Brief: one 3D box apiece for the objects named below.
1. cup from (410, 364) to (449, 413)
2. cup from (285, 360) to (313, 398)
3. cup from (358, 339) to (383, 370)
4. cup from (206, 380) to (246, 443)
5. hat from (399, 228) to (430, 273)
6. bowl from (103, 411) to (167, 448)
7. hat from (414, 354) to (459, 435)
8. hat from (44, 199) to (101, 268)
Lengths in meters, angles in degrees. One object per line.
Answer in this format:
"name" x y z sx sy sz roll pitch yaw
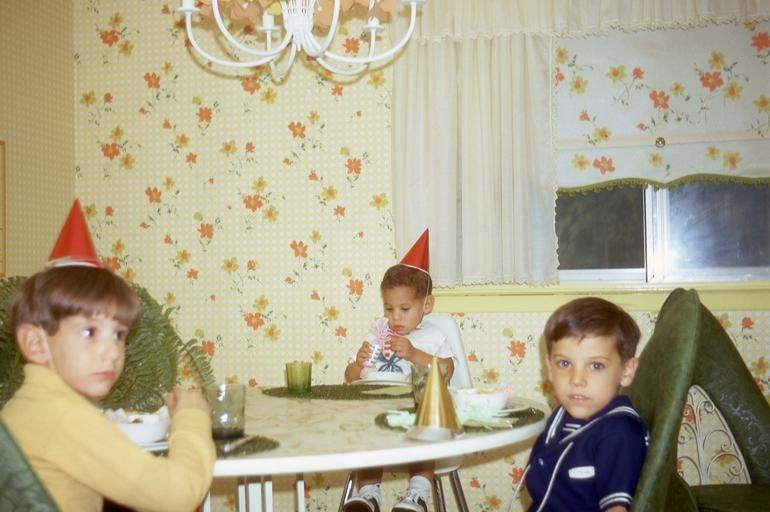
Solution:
"cup" 0.155 0.462 2.785 0.124 0.170 0.138 -2 -5 12
"cup" -0.326 0.481 3.103 0.099 0.115 0.109 -2 0 0
"cup" -0.056 0.428 3.429 0.079 0.132 0.072 17 -17 5
"cup" -0.500 0.500 2.570 0.139 0.192 0.156 -1 -6 -2
"hat" 0.144 -0.024 3.750 0.136 0.174 0.092 27 -6 -42
"bowl" -0.801 0.541 2.589 0.182 0.079 0.230 -2 -24 10
"hat" 0.168 0.461 2.641 0.146 0.255 0.217 -1 -1 2
"hat" -1.039 -0.082 2.692 0.156 0.208 0.198 -1 -1 -44
